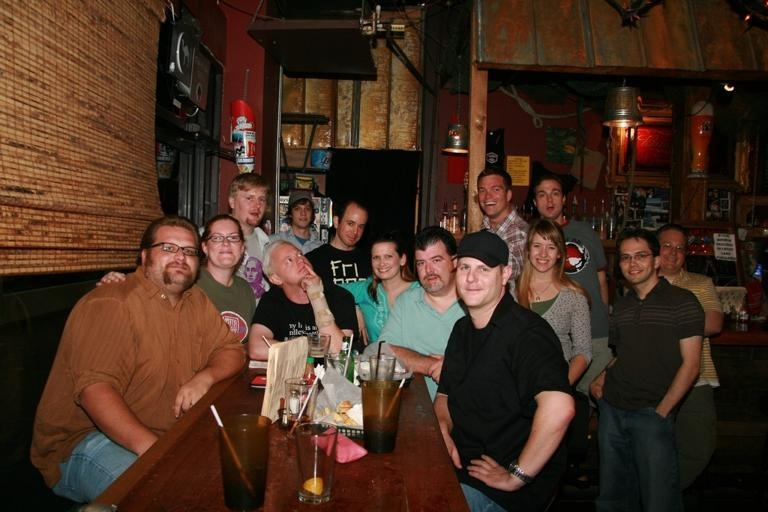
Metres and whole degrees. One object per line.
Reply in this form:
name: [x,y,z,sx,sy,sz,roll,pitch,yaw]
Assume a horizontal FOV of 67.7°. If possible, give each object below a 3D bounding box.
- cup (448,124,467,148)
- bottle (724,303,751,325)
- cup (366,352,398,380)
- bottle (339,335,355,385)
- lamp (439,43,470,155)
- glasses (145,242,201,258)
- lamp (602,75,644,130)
cup: [0.846,-1.371,6.813,0.273,0.244,0.265,0,0,0]
bottle: [3.298,0.546,5.324,0.112,0.191,0.207,0,-1,-39]
cup: [-0.013,0.566,2.956,0.145,0.152,0.141,1,-4,0]
bottle: [-0.217,0.625,3.355,0.092,0.297,0.081,-5,-5,33]
lamp: [0.886,-1.724,6.962,0.277,0.901,1.101,2,1,5]
glasses: [-1.289,-0.026,3.483,0.277,0.081,0.093,2,1,-25]
lamp: [2.248,-1.402,5.367,0.326,0.408,0.310,-3,7,-29]
